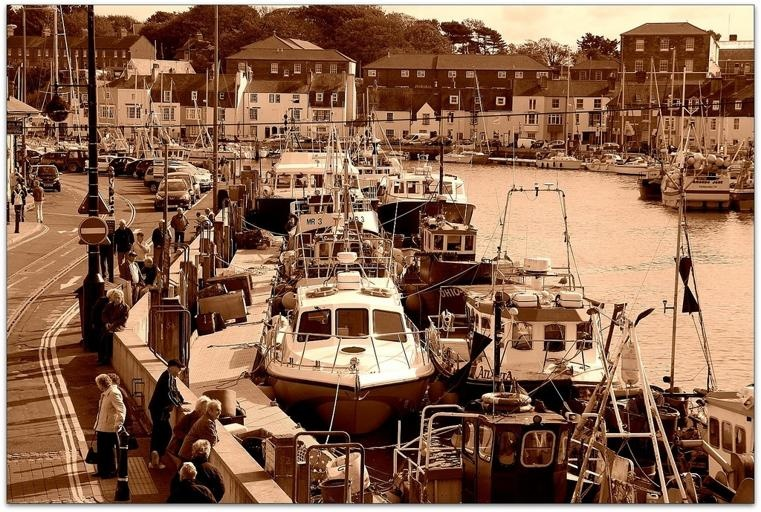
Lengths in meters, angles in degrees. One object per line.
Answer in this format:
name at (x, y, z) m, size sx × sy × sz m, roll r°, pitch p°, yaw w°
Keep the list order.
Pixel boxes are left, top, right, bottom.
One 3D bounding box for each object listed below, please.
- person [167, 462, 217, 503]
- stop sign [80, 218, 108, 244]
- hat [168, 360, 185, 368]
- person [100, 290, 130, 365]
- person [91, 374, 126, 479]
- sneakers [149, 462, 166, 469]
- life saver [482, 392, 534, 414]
person at (-3.048, 3.769, 16.200) m, size 0.524 × 0.729 × 0.850 m, roll 1°, pitch 7°, yaw -8°
stop sign at (-6.663, -0.596, 23.157) m, size 0.708 × 0.667 × 0.121 m, roll -1°, pitch 7°, yaw 1°
hat at (-3.830, 2.108, 18.813) m, size 0.300 × 0.148 × 0.215 m, roll -9°, pitch 13°, yaw -15°
person at (-6.139, 1.637, 22.769) m, size 0.641 × 1.787 × 0.574 m, roll 2°, pitch 7°, yaw 8°
person at (-4.928, 3.129, 18.168) m, size 0.536 × 2.010 × 0.504 m, roll -1°, pitch 7°, yaw -15°
sneakers at (-4.225, 4.043, 18.972) m, size 0.322 × 0.131 × 0.116 m, roll -1°, pitch 13°, yaw -2°
life saver at (2.578, 3.010, 20.249) m, size 0.590 × 0.177 × 0.582 m, roll 4°, pitch 3°, yaw 25°
